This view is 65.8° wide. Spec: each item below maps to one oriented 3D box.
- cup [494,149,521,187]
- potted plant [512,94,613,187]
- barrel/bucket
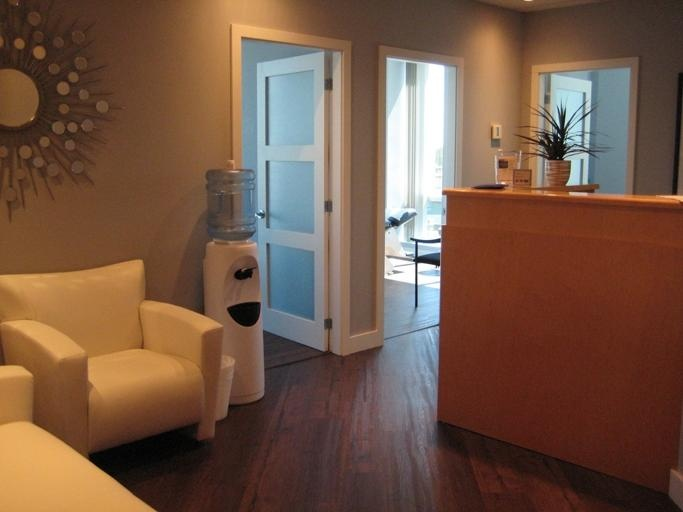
[{"bbox_3d":[1.142,-0.598,3.624,0.159,0.234,0.288,3,12,16],"label":"cup"},{"bbox_3d":[1.813,-0.854,4.237,0.505,0.562,0.619,0,4,13],"label":"potted plant"},{"bbox_3d":[-0.797,-0.383,3.811,0.353,0.596,0.359,0,8,0],"label":"barrel/bucket"}]
